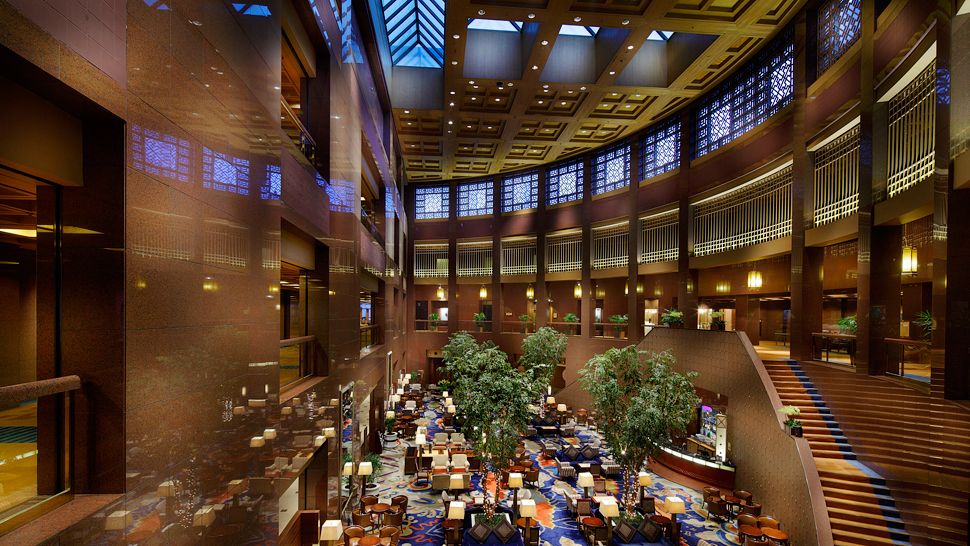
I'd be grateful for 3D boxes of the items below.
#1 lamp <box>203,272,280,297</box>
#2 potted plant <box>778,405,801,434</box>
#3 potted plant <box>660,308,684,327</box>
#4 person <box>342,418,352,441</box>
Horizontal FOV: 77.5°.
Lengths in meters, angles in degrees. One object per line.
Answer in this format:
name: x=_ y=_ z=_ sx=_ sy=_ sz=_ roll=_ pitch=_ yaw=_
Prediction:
lamp: x=-5.374 y=0.265 z=13.317 sx=0.171 sy=0.485 sz=1.959 roll=-11 pitch=-11 yaw=29
potted plant: x=9.841 y=4.751 z=19.400 sx=0.795 sy=0.823 sz=0.874 roll=-6 pitch=-11 yaw=35
potted plant: x=8.187 y=1.960 z=26.396 sx=0.868 sy=0.571 sz=0.833 roll=2 pitch=-10 yaw=-9
person: x=-4.324 y=4.941 z=18.941 sx=0.237 sy=0.732 sz=1.286 roll=-5 pitch=-10 yaw=-9
